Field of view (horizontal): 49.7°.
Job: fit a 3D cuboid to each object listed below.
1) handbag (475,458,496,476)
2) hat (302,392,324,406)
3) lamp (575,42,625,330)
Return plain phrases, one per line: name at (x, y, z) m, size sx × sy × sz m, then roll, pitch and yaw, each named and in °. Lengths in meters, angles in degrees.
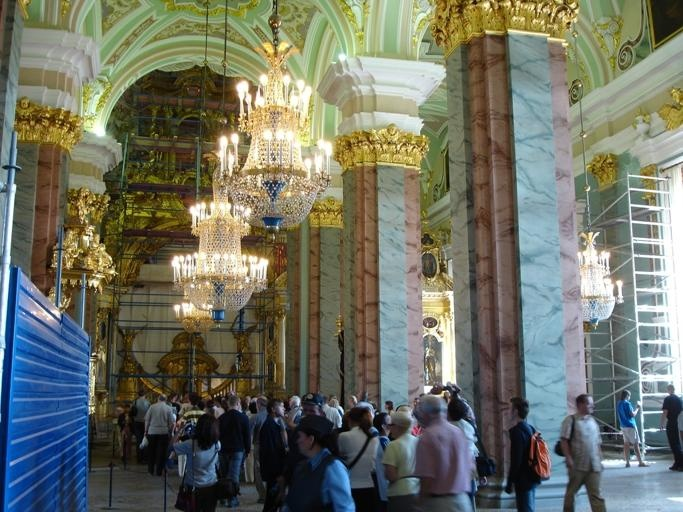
handbag at (1.450, 2.137, 7.478) m, size 0.144 × 0.200 × 0.308 m, roll -7°, pitch -16°, yaw 16°
hat at (-0.293, 1.440, 7.398) m, size 0.186 × 0.172 × 0.474 m, roll -1°, pitch -16°, yaw -4°
lamp at (5.519, -1.498, 16.527) m, size 0.902 × 6.180 × 2.566 m, roll -7°, pitch -15°, yaw 20°
